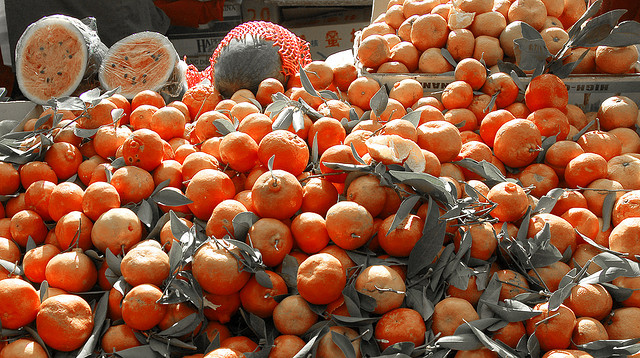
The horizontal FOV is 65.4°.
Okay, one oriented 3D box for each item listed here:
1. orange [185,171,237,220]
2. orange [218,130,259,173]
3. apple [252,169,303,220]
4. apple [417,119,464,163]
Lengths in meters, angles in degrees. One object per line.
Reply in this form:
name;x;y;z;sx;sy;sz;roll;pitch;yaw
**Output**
orange;-0.481;0.057;2.260;0.216;0.201;0.199;-5;5;4
orange;-0.369;-0.127;2.281;0.181;0.195;0.159;-1;-10;-43
apple;-0.183;0.068;2.103;0.207;0.196;0.112;4;18;4
apple;0.548;-0.190;2.281;0.200;0.141;0.191;1;15;-5
